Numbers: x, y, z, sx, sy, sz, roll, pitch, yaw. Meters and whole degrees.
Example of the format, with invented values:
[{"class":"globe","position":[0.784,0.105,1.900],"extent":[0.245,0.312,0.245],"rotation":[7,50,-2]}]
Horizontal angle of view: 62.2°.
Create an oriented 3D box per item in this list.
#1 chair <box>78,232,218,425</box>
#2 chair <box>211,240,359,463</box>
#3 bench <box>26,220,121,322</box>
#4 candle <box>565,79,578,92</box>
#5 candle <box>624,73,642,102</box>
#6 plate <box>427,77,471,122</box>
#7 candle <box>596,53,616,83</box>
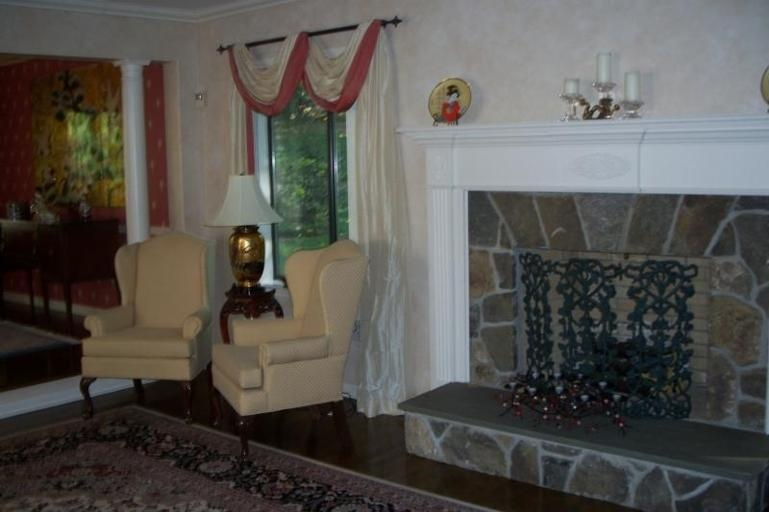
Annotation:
[{"class":"chair","position":[-2.042,0.522,5.568],"extent":[1.164,1.422,1.183],"rotation":[-4,7,-36]},{"class":"chair","position":[-0.794,0.691,5.195],"extent":[1.266,1.503,1.355],"rotation":[1,5,7]},{"class":"bench","position":[-3.725,0.176,7.750],"extent":[0.667,1.156,0.764],"rotation":[4,6,32]},{"class":"candle","position":[1.317,-1.191,4.478],"extent":[0.085,0.099,0.087],"rotation":[0,2,-3]},{"class":"candle","position":[1.672,-1.141,4.293],"extent":[0.101,0.193,0.107],"rotation":[3,13,17]},{"class":"plate","position":[0.512,-1.224,5.019],"extent":[0.216,0.345,0.303],"rotation":[-9,15,-30]},{"class":"candle","position":[1.530,-1.308,4.427],"extent":[0.118,0.215,0.221],"rotation":[3,14,18]}]
